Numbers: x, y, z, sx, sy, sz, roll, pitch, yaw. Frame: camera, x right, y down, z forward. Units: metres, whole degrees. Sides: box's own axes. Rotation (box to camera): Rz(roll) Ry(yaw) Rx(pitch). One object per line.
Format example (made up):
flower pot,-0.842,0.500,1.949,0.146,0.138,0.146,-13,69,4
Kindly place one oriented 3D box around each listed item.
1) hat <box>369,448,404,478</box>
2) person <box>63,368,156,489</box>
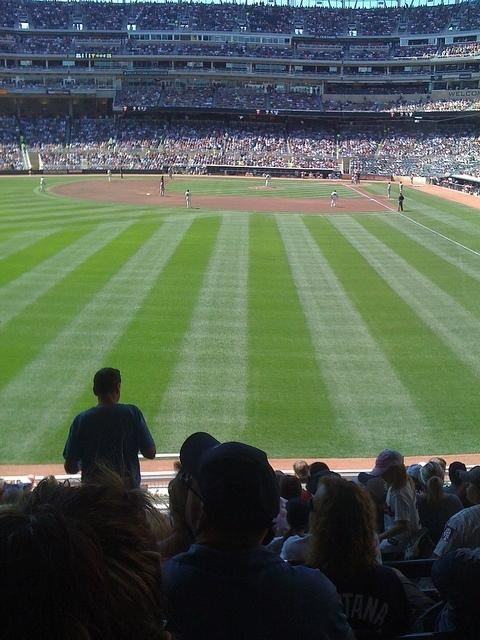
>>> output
hat,1.347,1.283,5.613,0.326,0.148,0.201,-16,22,-27
person,-1.127,0.977,5.471,0.665,1.040,0.600,14,20,28
